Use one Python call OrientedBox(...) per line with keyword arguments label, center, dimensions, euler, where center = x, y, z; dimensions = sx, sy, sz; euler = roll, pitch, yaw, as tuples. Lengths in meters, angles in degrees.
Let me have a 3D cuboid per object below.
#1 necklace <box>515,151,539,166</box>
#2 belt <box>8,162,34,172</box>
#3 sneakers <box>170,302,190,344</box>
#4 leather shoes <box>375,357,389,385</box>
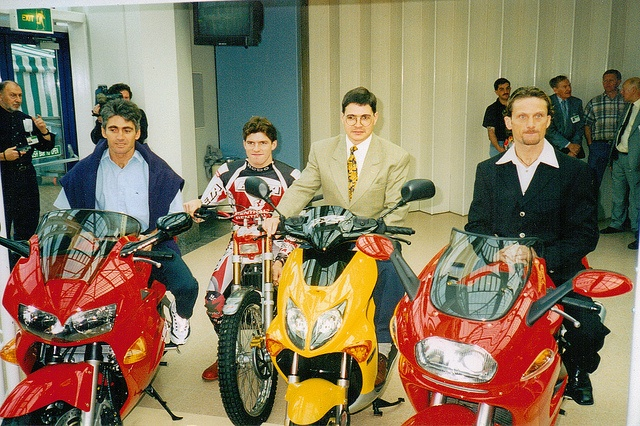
OrientedBox(label="necklace", center=(1.042, -0.278, 2.938), dimensions=(0.076, 0.036, 0.086), euler=(2, -4, 4))
OrientedBox(label="belt", center=(-2.004, -0.307, 3.907), dimensions=(0.159, 0.086, 0.082), euler=(-9, 15, -28))
OrientedBox(label="sneakers", center=(-0.766, 0.616, 3.179), dimensions=(0.084, 0.253, 0.100), euler=(-2, 0, -25))
OrientedBox(label="leather shoes", center=(0.304, 0.794, 2.900), dimensions=(0.099, 0.037, 0.153), euler=(2, 51, 8))
